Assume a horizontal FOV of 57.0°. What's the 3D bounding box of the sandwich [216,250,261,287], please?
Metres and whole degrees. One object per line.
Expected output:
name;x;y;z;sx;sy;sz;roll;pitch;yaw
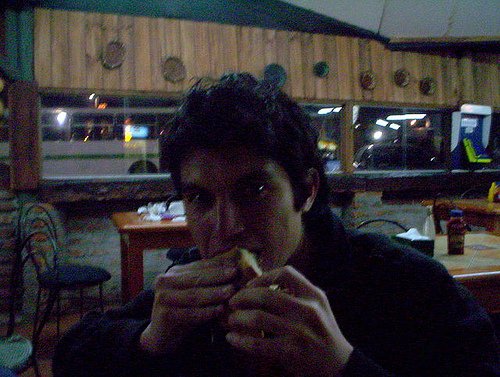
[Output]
sandwich;-0.051;0.436;2.508;0.212;0.191;0.099;-3;10;-4

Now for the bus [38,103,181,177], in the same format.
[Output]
bus;-2.851;-0.800;8.621;1.204;1.292;3.526;4;8;30

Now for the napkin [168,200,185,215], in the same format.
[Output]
napkin;-0.670;0.179;4.210;0.214;0.052;0.199;-4;40;-6

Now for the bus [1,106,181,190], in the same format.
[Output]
bus;-1.629;-0.717;7.824;4.739;1.393;1.235;-1;5;-12

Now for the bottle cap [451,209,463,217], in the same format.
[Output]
bottle cap;1.501;0.183;3.348;0.070;0.053;0.033;2;11;20

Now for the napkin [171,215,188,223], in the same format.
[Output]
napkin;-0.665;0.283;4.275;0.123;0.028;0.224;-4;9;-19
